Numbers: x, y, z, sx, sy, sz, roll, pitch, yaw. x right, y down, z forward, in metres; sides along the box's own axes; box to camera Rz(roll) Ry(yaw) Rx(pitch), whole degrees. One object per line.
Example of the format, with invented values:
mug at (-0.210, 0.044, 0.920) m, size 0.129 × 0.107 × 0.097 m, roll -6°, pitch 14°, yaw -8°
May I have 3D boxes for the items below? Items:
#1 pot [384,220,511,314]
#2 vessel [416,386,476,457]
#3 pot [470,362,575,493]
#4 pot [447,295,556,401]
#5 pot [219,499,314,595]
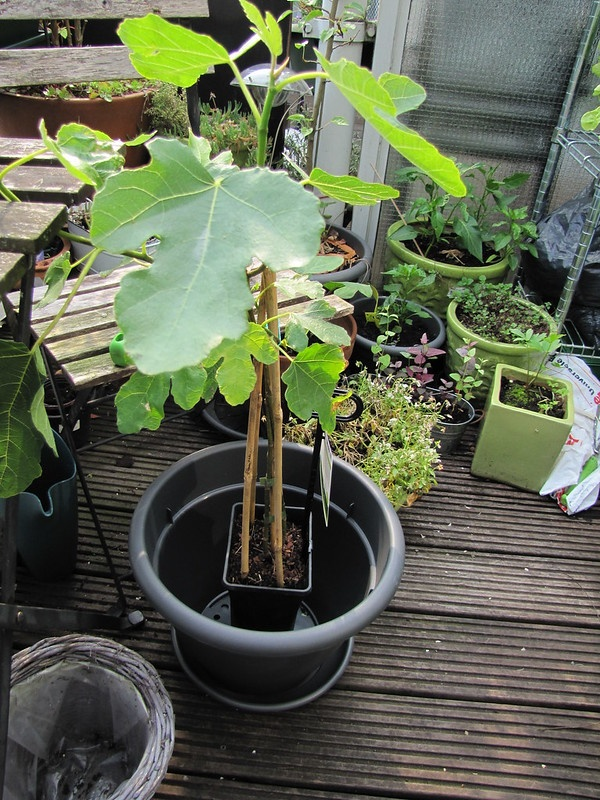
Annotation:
pot at (0.592, -0.527, 2.863) m, size 0.463 × 0.297 × 0.425 m, roll 4°, pitch 37°, yaw -3°
vessel at (0.538, 0.061, 2.365) m, size 0.250 × 0.177 × 0.247 m, roll 13°, pitch 39°, yaw 10°
pot at (0.780, 0.095, 2.266) m, size 0.283 × 0.327 × 0.309 m, roll 5°, pitch 38°, yaw -4°
pot at (0.746, -0.211, 2.531) m, size 0.414 × 0.278 × 0.412 m, roll 14°, pitch 35°, yaw -10°
pot at (-0.060, 0.298, 1.360) m, size 0.180 × 0.149 × 0.257 m, roll 5°, pitch 37°, yaw -3°
